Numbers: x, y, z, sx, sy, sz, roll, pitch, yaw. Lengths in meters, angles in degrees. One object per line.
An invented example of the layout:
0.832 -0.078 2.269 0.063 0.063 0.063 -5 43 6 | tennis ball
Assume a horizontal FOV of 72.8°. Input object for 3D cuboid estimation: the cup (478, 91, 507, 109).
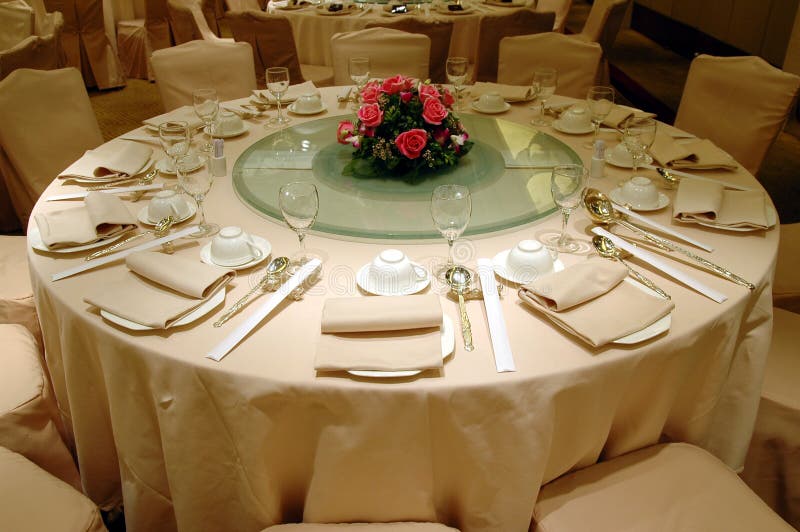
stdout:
0.525 -0.933 3.081 0.096 0.080 0.106 6 26 10 | cup
